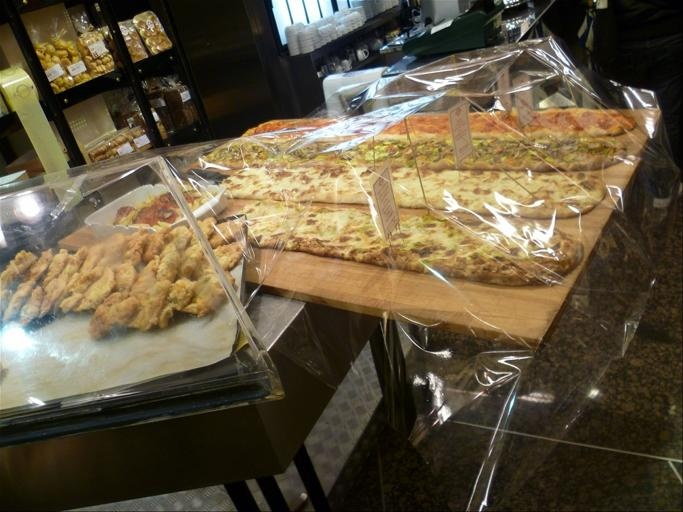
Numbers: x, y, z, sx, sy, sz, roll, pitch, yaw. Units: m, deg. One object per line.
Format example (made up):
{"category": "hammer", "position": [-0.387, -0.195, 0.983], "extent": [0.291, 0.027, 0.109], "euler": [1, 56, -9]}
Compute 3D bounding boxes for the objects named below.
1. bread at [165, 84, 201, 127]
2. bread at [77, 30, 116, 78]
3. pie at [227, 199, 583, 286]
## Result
{"category": "bread", "position": [-1.235, -1.182, 3.599], "extent": [0.148, 0.297, 0.285], "euler": [-18, 16, 12]}
{"category": "bread", "position": [-1.602, -1.288, 3.052], "extent": [0.220, 0.318, 0.073], "euler": [-31, 21, -35]}
{"category": "pie", "position": [0.047, -0.007, 1.215], "extent": [1.029, 0.072, 0.276], "euler": [4, 41, 34]}
